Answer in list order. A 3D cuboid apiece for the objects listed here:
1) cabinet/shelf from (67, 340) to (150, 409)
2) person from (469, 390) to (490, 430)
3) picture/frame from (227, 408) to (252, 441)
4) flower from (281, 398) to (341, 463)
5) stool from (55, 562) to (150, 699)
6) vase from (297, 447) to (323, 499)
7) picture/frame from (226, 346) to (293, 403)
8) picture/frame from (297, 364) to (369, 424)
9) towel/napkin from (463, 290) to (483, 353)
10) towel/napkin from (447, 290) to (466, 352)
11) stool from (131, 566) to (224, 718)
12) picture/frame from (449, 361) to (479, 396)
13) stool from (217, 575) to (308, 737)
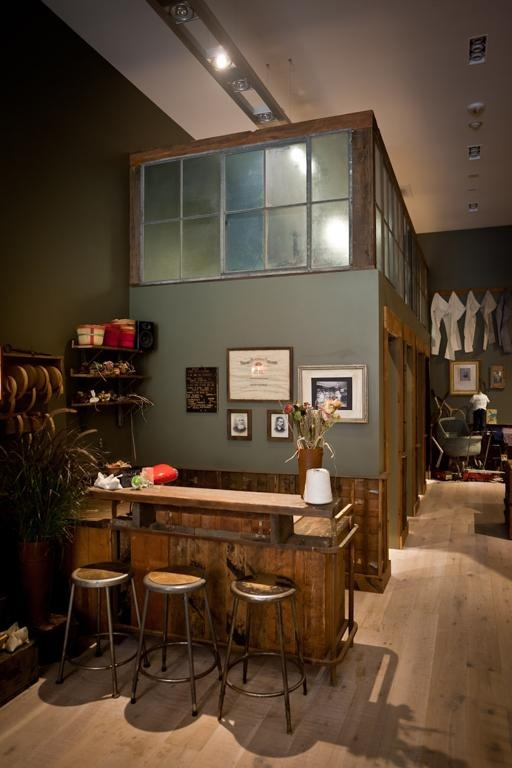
[{"bbox_3d":[-1.158,-0.101,4.363,0.650,0.458,0.183,2,8,-34],"label":"cabinet/shelf"},{"bbox_3d":[3.785,0.447,9.344,0.294,0.692,0.700,-1,-2,21],"label":"person"},{"bbox_3d":[-0.123,0.318,4.455,0.227,0.313,0.020,2,3,26],"label":"picture/frame"},{"bbox_3d":[0.265,0.274,2.890,0.304,0.400,0.332,3,-2,-17],"label":"flower"},{"bbox_3d":[-0.821,1.158,2.661,0.339,0.539,0.355,5,-8,11],"label":"stool"},{"bbox_3d":[0.269,0.435,2.754,0.119,0.242,0.172,0,-2,4],"label":"vase"},{"bbox_3d":[0.053,-0.085,4.387,0.399,0.373,0.020,0,-2,21],"label":"picture/frame"},{"bbox_3d":[0.564,0.060,3.817,0.394,0.374,0.032,0,-2,29],"label":"picture/frame"},{"bbox_3d":[3.829,-1.120,9.795,0.275,1.079,0.159,0,-2,8],"label":"towel/napkin"},{"bbox_3d":[3.584,-1.122,9.894,0.279,1.065,0.171,0,-2,5],"label":"towel/napkin"},{"bbox_3d":[-0.380,1.163,2.589,0.336,0.568,0.363,-2,1,17],"label":"stool"},{"bbox_3d":[3.707,-0.110,9.791,0.526,0.814,0.055,1,-2,20],"label":"picture/frame"},{"bbox_3d":[0.035,1.181,2.501,0.337,0.598,0.348,0,1,16],"label":"stool"}]
